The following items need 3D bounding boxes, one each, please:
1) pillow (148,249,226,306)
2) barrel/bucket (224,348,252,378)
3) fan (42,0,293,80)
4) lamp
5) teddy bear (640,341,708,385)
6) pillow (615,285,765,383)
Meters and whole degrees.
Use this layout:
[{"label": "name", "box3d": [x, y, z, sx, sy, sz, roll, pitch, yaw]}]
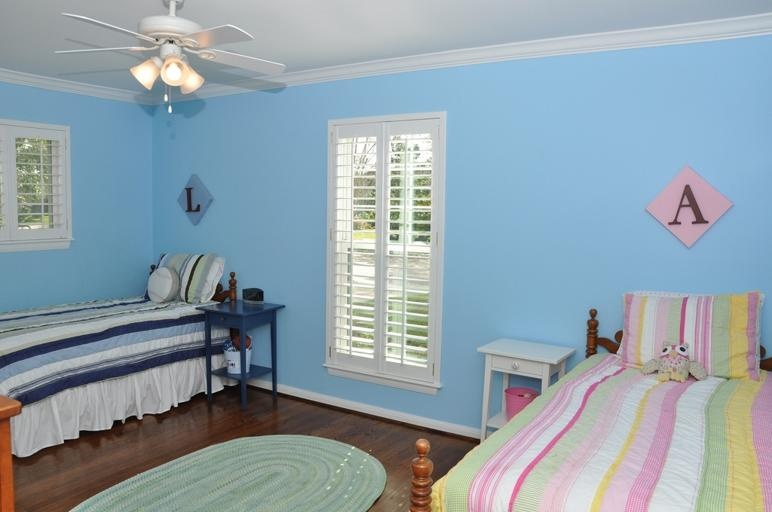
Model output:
[{"label": "pillow", "box3d": [-2.023, 0.176, 5.265, 0.839, 0.644, 0.281, 3, -27, 24]}, {"label": "barrel/bucket", "box3d": [-1.347, 0.974, 4.801, 0.281, 0.188, 0.243, 2, -6, -9]}, {"label": "fan", "box3d": [-1.467, -1.464, 3.544, 0.607, 0.182, 0.598, -7, -15, 23]}, {"label": "lamp", "box3d": [-1.277, -1.109, 3.089, 0.386, 0.195, 0.343, -27, 32, -26]}, {"label": "teddy bear", "box3d": [1.788, 0.667, 3.301, 0.361, 0.240, 0.189, -4, -12, 37]}, {"label": "pillow", "box3d": [1.953, 0.503, 3.489, 0.858, 0.543, 0.269, 0, -2, 42]}]
